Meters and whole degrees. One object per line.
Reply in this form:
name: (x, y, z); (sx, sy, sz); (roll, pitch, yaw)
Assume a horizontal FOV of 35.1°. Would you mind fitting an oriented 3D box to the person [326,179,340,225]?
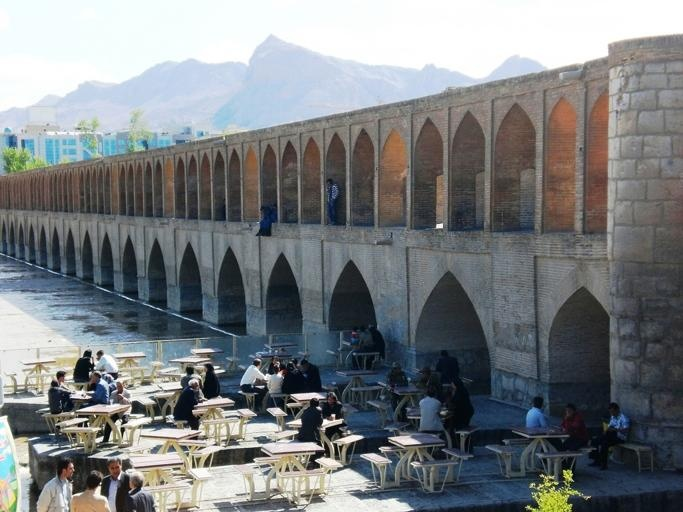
person: (-0.200, -1.486, 28.539); (0.320, 1.205, 0.339); (0, -4, 0)
